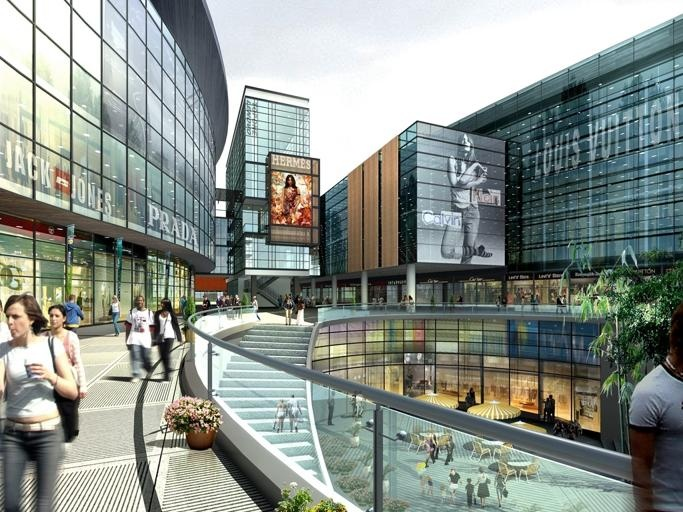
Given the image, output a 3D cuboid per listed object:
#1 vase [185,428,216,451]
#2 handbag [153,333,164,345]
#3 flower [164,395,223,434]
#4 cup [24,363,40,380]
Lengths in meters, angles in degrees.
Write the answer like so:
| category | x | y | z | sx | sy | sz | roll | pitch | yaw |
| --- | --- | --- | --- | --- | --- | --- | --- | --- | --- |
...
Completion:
| category | x | y | z | sx | sy | sz | roll | pitch | yaw |
| --- | --- | --- | --- | --- | --- | --- | --- | --- | --- |
| vase | -2.038 | 2.646 | 6.544 | 0.322 | 0.198 | 0.318 | 3 | -8 | -11 |
| handbag | -4.100 | 1.851 | 10.170 | 0.210 | 0.267 | 0.102 | -4 | 0 | -8 |
| flower | -2.221 | 2.449 | 6.709 | 0.851 | 0.585 | 0.747 | -9 | -26 | -21 |
| cup | -2.817 | 1.056 | 4.108 | 0.110 | 0.122 | 0.127 | -4 | -6 | 45 |
